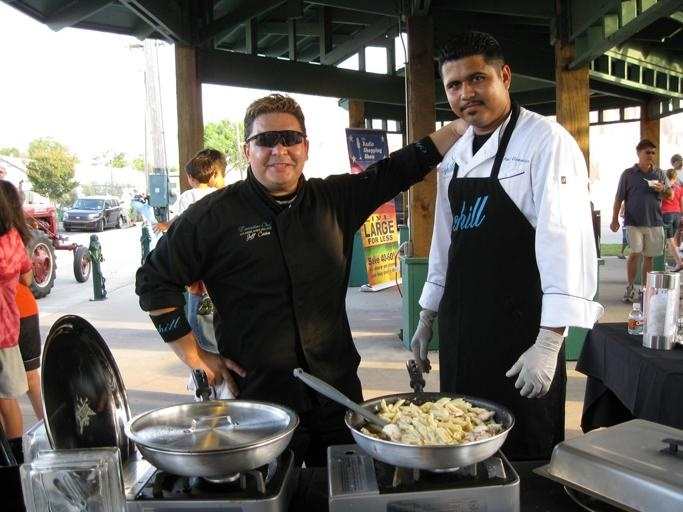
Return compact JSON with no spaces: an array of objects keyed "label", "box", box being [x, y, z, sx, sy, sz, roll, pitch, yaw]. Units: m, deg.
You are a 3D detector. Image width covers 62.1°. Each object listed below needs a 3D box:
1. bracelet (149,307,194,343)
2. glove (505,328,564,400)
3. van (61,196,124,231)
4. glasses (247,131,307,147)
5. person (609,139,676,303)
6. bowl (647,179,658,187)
[{"label":"bracelet","box":[-0.676,0.272,2.311,0.127,0.144,0.142,-23,10,8]},{"label":"glove","box":[0.756,0.428,2.176,0.101,0.295,0.173,16,5,-40]},{"label":"van","box":[-10.467,-1.801,23.915,1.204,1.220,2.715,-2,2,2]},{"label":"glasses","box":[-0.271,-0.479,2.329,0.231,0.069,0.082,-5,8,-11]},{"label":"person","box":[4.140,-0.470,7.935,0.634,2.240,0.510,2,8,31]},{"label":"bowl","box":[4.171,-0.979,7.611,0.099,0.087,0.106,-6,2,0]}]
